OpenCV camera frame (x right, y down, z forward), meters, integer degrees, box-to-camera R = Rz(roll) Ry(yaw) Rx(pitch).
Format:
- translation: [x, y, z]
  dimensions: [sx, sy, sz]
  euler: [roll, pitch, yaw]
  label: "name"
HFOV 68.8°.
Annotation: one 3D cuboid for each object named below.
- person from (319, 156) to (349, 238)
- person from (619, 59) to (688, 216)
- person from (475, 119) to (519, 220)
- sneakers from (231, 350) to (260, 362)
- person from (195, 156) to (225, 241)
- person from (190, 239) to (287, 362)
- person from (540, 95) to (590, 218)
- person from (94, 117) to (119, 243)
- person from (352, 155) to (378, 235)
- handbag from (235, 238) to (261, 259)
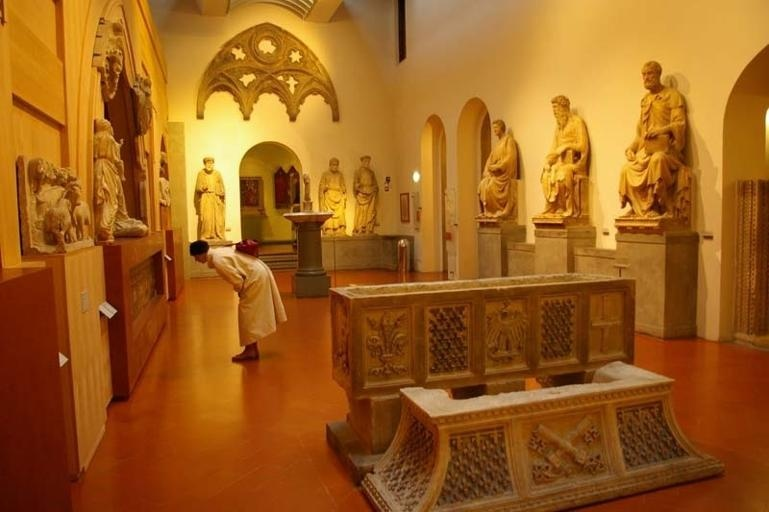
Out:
- translation: [-1.607, -1.810, 17.363]
  dimensions: [0.852, 2.314, 0.354]
  euler: [-3, 8, -7]
  label: "person"
- translation: [3.916, -1.662, 8.047]
  dimensions: [0.922, 2.190, 0.548]
  euler: [3, 9, 29]
  label: "person"
- translation: [2.387, -1.808, 11.760]
  dimensions: [0.617, 2.035, 0.785]
  euler: [-6, 9, -30]
  label: "person"
- translation: [-1.861, 1.317, 7.451]
  dimensions: [0.295, 0.128, 0.157]
  euler: [2, 0, -5]
  label: "sneakers"
- translation: [-5.139, -1.661, 16.268]
  dimensions: [0.857, 2.330, 0.681]
  euler: [-2, 8, -5]
  label: "person"
- translation: [-1.800, 0.627, 7.439]
  dimensions: [0.910, 1.491, 0.419]
  euler: [-3, 8, -12]
  label: "person"
- translation: [3.265, -1.767, 9.931]
  dimensions: [0.654, 2.119, 0.674]
  euler: [-5, 8, -23]
  label: "person"
- translation: [-3.476, -0.986, 7.012]
  dimensions: [0.348, 1.490, 1.260]
  euler: [-5, 9, -25]
  label: "person"
- translation: [-0.617, -1.876, 17.533]
  dimensions: [0.759, 2.385, 0.305]
  euler: [-2, 7, -5]
  label: "person"
- translation: [-1.883, -0.062, 7.683]
  dimensions: [0.285, 0.265, 0.329]
  euler: [3, 16, -1]
  label: "handbag"
